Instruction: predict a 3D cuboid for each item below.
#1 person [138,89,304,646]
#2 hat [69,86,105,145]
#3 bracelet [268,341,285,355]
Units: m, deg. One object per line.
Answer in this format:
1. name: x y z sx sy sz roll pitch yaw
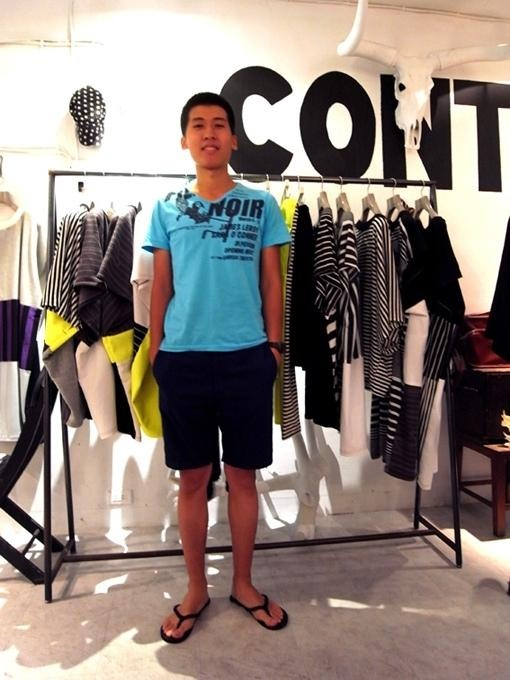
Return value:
1. person: -0.115 0.059 1.658 0.467 1.681 0.270 -1 3 -11
2. hat: -0.694 -0.938 2.163 0.125 0.246 0.054 -6 23 -7
3. bracelet: 0.067 0.022 1.671 0.039 0.020 0.040 19 -9 -29
